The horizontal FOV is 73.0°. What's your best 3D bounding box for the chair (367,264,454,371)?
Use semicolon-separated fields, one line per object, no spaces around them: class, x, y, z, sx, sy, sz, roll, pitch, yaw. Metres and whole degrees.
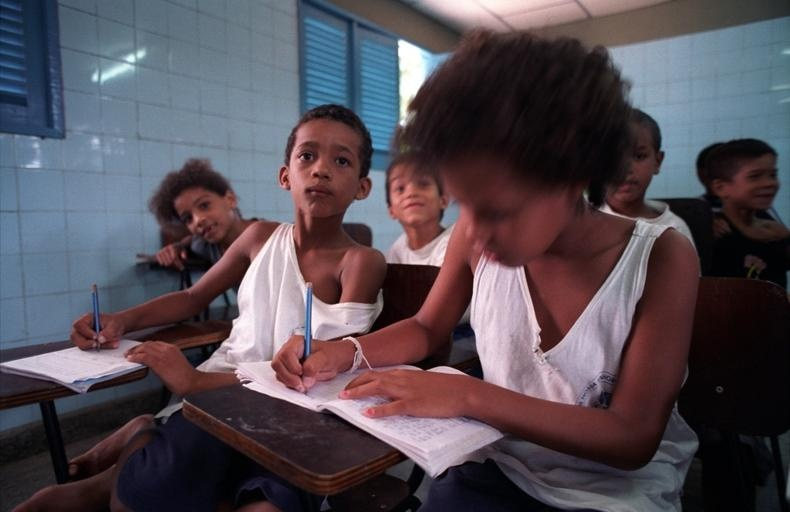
chair;0.044;0.221;2.070;0.319;0.442;0.350;2;3;27

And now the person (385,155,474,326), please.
person;0.161;-0.089;3.098;0.628;1.013;0.618;-4;-7;11

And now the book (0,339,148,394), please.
book;-1.124;0.375;1.858;0.443;0.094;0.356;-4;10;-27
